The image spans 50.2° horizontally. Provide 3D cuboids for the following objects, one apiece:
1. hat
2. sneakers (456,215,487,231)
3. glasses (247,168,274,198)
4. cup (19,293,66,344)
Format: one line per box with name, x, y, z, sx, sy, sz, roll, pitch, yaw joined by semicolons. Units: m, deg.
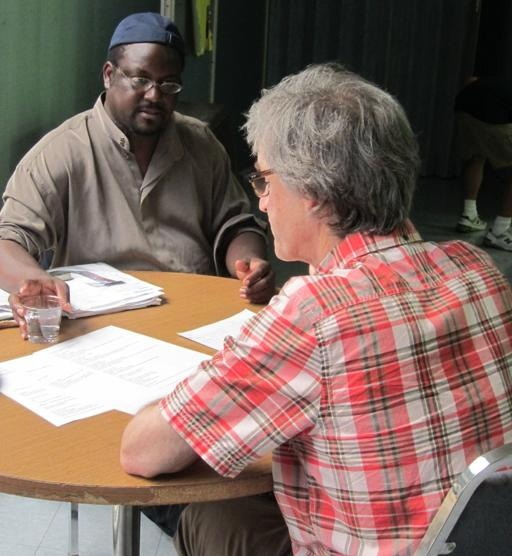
hat;-0.362;-0.826;1.854;0.207;0.088;0.149;7;16;10
sneakers;1.108;-0.284;2.823;0.149;0.072;0.056;-1;13;-5
glasses;0.007;-0.156;0.885;0.017;0.046;0.047;2;5;-6
cup;-0.469;0.091;1.251;0.107;0.089;0.103;0;12;0
